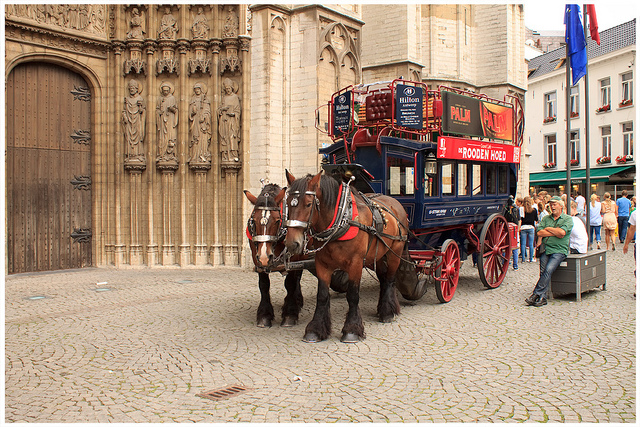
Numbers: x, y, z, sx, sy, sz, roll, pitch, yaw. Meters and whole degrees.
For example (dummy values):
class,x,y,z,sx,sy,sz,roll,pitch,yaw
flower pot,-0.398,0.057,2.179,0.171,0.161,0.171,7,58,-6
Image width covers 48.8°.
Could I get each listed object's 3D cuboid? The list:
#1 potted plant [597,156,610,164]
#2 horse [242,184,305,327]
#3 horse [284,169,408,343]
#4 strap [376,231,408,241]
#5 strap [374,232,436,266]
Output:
class,x,y,z,sx,sy,sz,roll,pitch,yaw
potted plant,14.912,-2.780,36.977,0.274,0.353,0.841,-2,8,-12
horse,-0.882,0.884,13.807,1.067,2.887,1.773,-1,8,-3
horse,0.687,0.821,14.414,1.675,3.344,4.492,1,2,32
strap,1.432,0.457,14.343,0.108,0.091,0.650,-19,-23,41
strap,1.752,0.764,14.899,1.647,0.263,0.193,27,-18,-37
